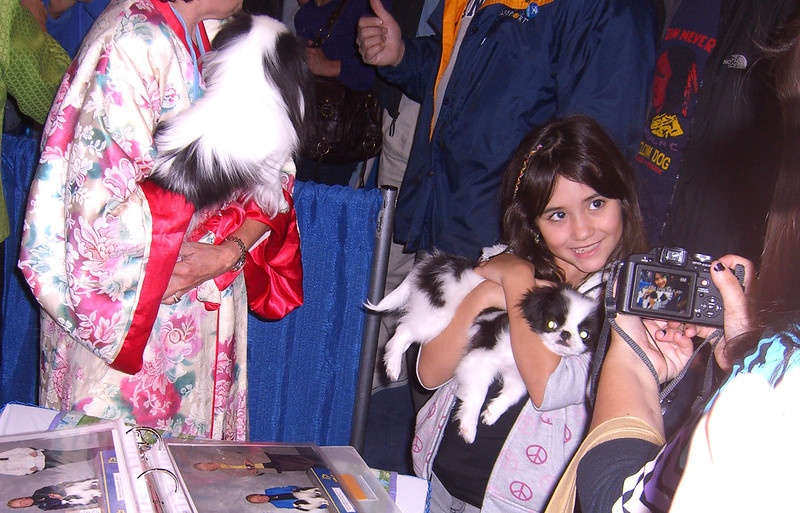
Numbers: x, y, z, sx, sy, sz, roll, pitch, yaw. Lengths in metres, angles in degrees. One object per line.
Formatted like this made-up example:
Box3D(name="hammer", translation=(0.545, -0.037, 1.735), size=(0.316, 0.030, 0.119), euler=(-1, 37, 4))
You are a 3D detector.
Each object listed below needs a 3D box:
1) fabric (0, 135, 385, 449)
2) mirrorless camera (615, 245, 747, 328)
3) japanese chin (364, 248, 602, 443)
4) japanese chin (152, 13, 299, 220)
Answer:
Box3D(name="fabric", translation=(-0.619, 0.113, 1.911), size=(1.229, 1.008, 0.131), euler=(7, 11, -3))
Box3D(name="mirrorless camera", translation=(0.667, 0.076, 1.551), size=(0.293, 0.194, 0.114), euler=(8, -3, 14))
Box3D(name="japanese chin", translation=(0.250, 0.269, 1.965), size=(0.603, 0.553, 0.253), euler=(14, -23, 7))
Box3D(name="japanese chin", translation=(-0.397, -0.441, 1.788), size=(0.273, 0.676, 0.368), euler=(10, -19, 10))
